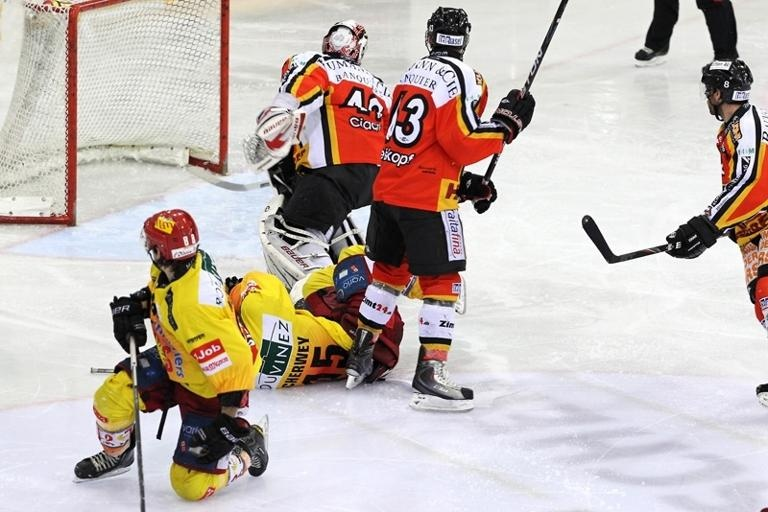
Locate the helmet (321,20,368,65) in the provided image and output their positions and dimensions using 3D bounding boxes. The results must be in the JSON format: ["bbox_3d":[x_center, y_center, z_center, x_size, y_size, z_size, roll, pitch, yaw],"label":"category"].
[{"bbox_3d":[-0.251,-1.522,5.860,0.288,0.311,0.361,13,0,6],"label":"helmet"}]

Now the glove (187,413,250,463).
[{"bbox_3d":[-0.719,0.811,3.726,0.289,0.206,0.113,-23,57,7],"label":"glove"}]

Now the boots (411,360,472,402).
[{"bbox_3d":[0.335,0.682,4.634,0.415,0.223,0.138,-1,-13,39],"label":"boots"}]

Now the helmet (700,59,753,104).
[{"bbox_3d":[1.884,-0.963,4.707,0.322,0.276,0.258,10,22,32],"label":"helmet"}]

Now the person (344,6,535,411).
[{"bbox_3d":[0.300,-0.284,4.647,0.813,2.091,0.887,6,19,7],"label":"person"}]

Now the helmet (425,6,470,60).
[{"bbox_3d":[0.356,-1.248,4.757,0.270,0.278,0.303,4,7,1],"label":"helmet"}]

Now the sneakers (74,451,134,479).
[{"bbox_3d":[-1.303,0.985,3.946,0.235,0.104,0.070,-8,64,-23],"label":"sneakers"}]

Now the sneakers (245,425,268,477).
[{"bbox_3d":[-0.595,0.930,3.998,0.099,0.114,0.259,-3,58,12],"label":"sneakers"}]

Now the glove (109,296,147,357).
[{"bbox_3d":[-1.136,0.323,3.862,0.200,0.237,0.111,-5,-4,25],"label":"glove"}]

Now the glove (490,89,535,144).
[{"bbox_3d":[0.712,-0.800,4.674,0.350,0.110,0.206,-46,48,-13],"label":"glove"}]

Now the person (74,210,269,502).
[{"bbox_3d":[-0.940,0.454,3.773,0.807,1.285,0.505,8,20,13],"label":"person"}]

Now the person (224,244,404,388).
[{"bbox_3d":[-0.351,0.344,4.753,0.911,0.384,0.810,-1,47,-20],"label":"person"}]

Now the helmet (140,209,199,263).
[{"bbox_3d":[-0.966,-0.098,3.772,0.279,0.221,0.218,17,25,25],"label":"helmet"}]
